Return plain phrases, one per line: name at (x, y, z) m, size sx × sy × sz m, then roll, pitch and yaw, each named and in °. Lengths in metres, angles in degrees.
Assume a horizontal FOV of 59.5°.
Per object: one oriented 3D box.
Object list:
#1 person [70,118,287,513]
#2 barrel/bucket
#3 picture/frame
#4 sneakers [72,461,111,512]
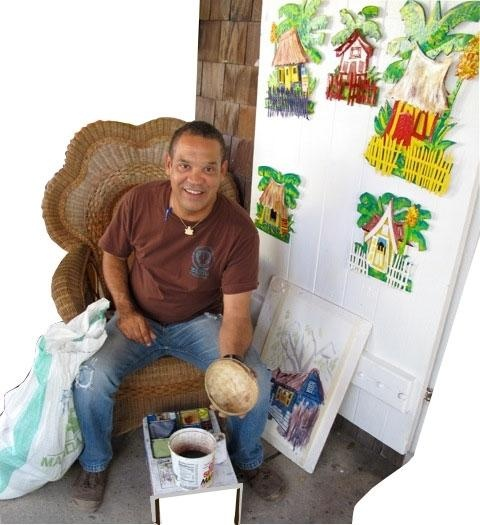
person at (-0.197, 0.165, 1.519) m, size 0.714 × 1.242 × 0.647 m, roll 1°, pitch 23°, yaw -5°
barrel/bucket at (-0.145, 0.597, 1.291) m, size 0.136 × 0.165 × 0.151 m, roll 1°, pitch 34°, yaw -4°
picture/frame at (0.284, 0.457, 1.632) m, size 0.044 × 0.657 × 0.536 m, roll 12°, pitch 12°, yaw -32°
sneakers at (-0.505, 0.757, 1.417) m, size 0.054 × 0.067 × 0.158 m, roll 10°, pitch 14°, yaw -11°
